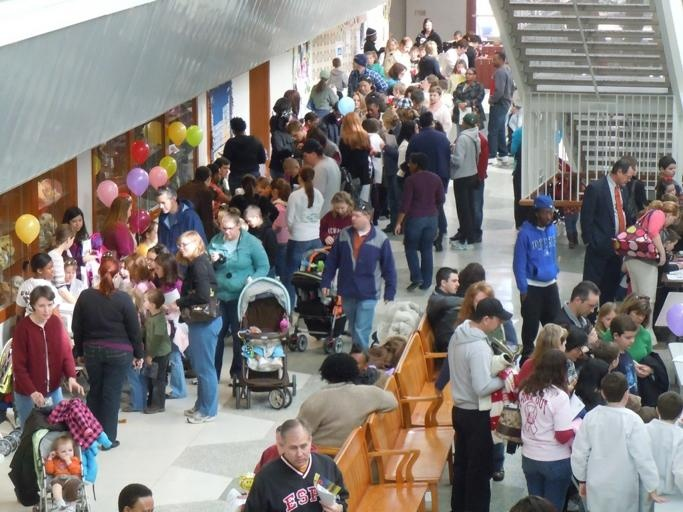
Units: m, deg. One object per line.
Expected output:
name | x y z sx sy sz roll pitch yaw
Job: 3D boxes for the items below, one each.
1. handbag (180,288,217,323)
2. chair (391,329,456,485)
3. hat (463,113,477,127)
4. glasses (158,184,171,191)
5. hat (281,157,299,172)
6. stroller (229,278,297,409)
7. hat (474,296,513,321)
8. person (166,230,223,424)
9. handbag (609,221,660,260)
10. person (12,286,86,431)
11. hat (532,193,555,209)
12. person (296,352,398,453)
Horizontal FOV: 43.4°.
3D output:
handbag | -1.424 0.474 8.559 0.239 0.297 0.124 -4 4 1
chair | 0.739 1.387 7.714 0.354 0.808 1.131 0 21 3
hat | 1.993 -2.063 13.225 0.148 0.238 0.212 2 -16 -1
glasses | -2.070 -0.781 10.036 0.082 0.025 0.086 -25 38 -36
hat | -0.741 -1.253 11.966 0.175 0.231 0.289 0 2 21
stroller | -0.851 0.933 9.257 0.680 1.419 0.581 -3 -3 -5
hat | 1.223 0.411 6.907 0.236 0.164 0.175 -4 19 -2
person | -1.451 0.729 8.822 0.423 1.949 0.729 -2 -3 -9
handbag | 3.426 -0.137 9.917 0.318 0.364 0.465 15 7 5
person | -2.858 0.934 8.138 0.617 1.291 0.576 -4 -3 16
hat | 2.215 -0.582 9.393 0.146 0.175 0.240 0 12 2
person | 0.091 1.215 7.114 0.505 0.872 0.424 8 46 1
